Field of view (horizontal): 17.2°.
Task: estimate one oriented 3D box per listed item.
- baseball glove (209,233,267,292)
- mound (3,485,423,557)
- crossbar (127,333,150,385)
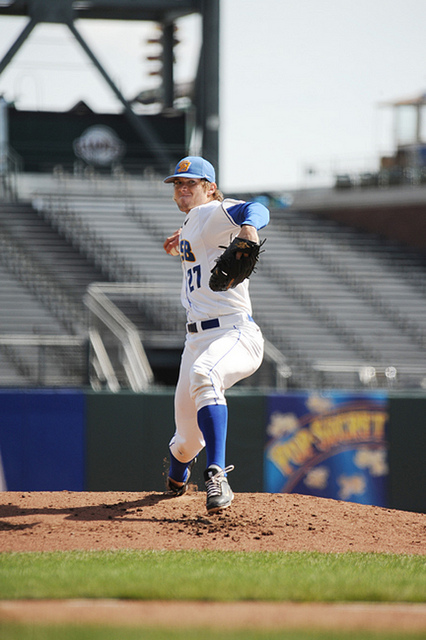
[{"bbox_3d":[0.127,-0.332,8.581,0.255,0.356,0.136,10,22,-19],"label":"baseball glove"},{"bbox_3d":[-0.051,1.318,9.135,2.722,0.232,1.547,4,9,1],"label":"mound"},{"bbox_3d":[-0.642,0.328,12.019,0.050,0.398,0.054,-20,-1,35],"label":"crossbar"}]
